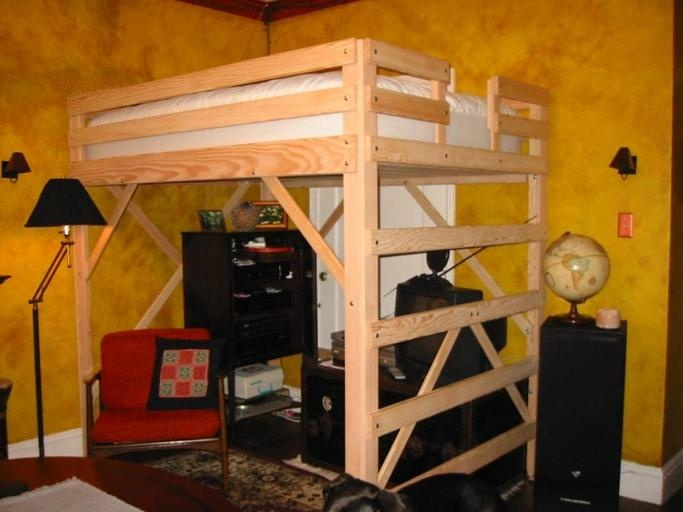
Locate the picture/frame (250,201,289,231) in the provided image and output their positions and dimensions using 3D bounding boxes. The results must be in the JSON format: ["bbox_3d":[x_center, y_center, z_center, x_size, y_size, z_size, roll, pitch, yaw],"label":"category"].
[{"bbox_3d":[-0.637,-0.339,5.464,0.271,0.222,0.019,-3,1,-39],"label":"picture/frame"}]

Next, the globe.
[{"bbox_3d":[1.594,0.137,4.353,0.469,0.616,0.468,-6,11,-34],"label":"globe"}]

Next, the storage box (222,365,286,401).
[{"bbox_3d":[-0.843,1.176,6.009,0.334,0.228,0.475,2,4,36],"label":"storage box"}]

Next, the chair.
[{"bbox_3d":[-1.340,1.085,4.606,0.965,0.986,0.841,1,-3,-14],"label":"chair"}]

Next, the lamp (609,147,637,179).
[{"bbox_3d":[1.962,-0.640,4.442,0.191,0.249,0.191,-1,11,0],"label":"lamp"}]

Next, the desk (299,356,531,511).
[{"bbox_3d":[0.368,1.250,4.801,0.717,0.780,1.289,4,-2,-44],"label":"desk"}]
